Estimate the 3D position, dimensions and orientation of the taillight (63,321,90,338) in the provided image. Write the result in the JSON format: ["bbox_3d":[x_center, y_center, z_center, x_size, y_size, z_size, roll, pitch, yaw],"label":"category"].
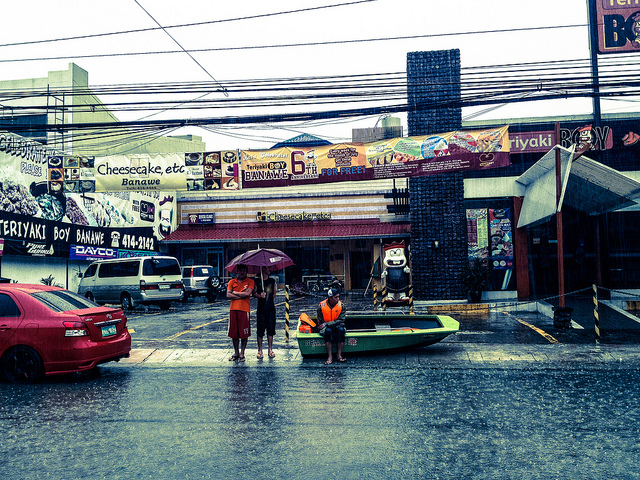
[{"bbox_3d":[-5.906,2.142,21.117,0.447,0.298,0.346,3,-1,9],"label":"taillight"}]

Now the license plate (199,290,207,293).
[{"bbox_3d":[-5.260,2.307,39.417,0.336,0.140,0.088,-2,12,-5],"label":"license plate"}]

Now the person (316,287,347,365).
[{"bbox_3d":[0.288,2.188,22.916,0.685,1.867,0.791,-1,12,0],"label":"person"}]

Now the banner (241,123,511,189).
[{"bbox_3d":[1.973,-2.849,30.625,9.069,2.000,0.733,-1,12,0],"label":"banner"}]

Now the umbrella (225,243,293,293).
[{"bbox_3d":[-1.785,0.658,24.157,1.185,1.112,1.286,6,-7,14],"label":"umbrella"}]

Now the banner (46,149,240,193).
[{"bbox_3d":[-6.370,-2.446,31.667,7.200,1.602,0.497,2,12,13],"label":"banner"}]

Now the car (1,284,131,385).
[{"bbox_3d":[-6.300,2.344,21.663,3.361,1.533,1.690,3,-4,12],"label":"car"}]

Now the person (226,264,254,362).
[{"bbox_3d":[-2.092,1.928,23.195,0.722,2.492,0.975,-2,12,-6],"label":"person"}]

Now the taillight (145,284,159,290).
[{"bbox_3d":[-6.481,1.818,33.772,0.077,0.238,0.616,9,16,40],"label":"taillight"}]

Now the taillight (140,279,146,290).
[{"bbox_3d":[-6.787,1.710,33.537,0.217,0.379,0.110,-3,12,-12],"label":"taillight"}]

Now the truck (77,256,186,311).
[{"bbox_3d":[-7.533,1.649,34.856,3.387,1.782,2.084,1,-2,28],"label":"truck"}]
